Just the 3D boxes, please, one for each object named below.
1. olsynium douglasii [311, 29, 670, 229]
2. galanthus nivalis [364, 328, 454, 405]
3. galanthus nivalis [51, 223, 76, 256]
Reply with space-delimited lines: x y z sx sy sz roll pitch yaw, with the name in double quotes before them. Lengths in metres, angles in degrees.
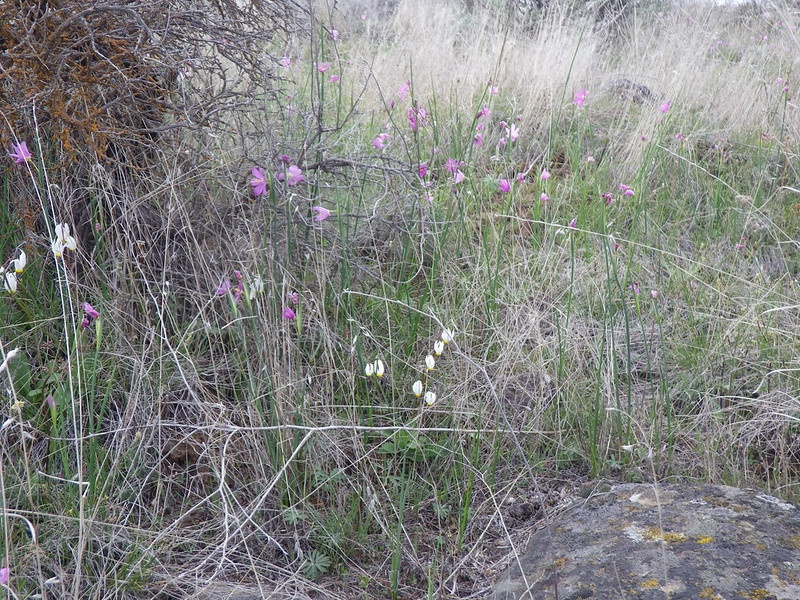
"olsynium douglasii" 0.871 -1.479 5.758 2.445 2.212 2.028 1 19 6
"galanthus nivalis" 0.083 0.338 3.717 0.392 0.469 0.327 11 16 42
"galanthus nivalis" -1.696 -0.306 3.691 0.087 0.179 0.107 7 26 11
